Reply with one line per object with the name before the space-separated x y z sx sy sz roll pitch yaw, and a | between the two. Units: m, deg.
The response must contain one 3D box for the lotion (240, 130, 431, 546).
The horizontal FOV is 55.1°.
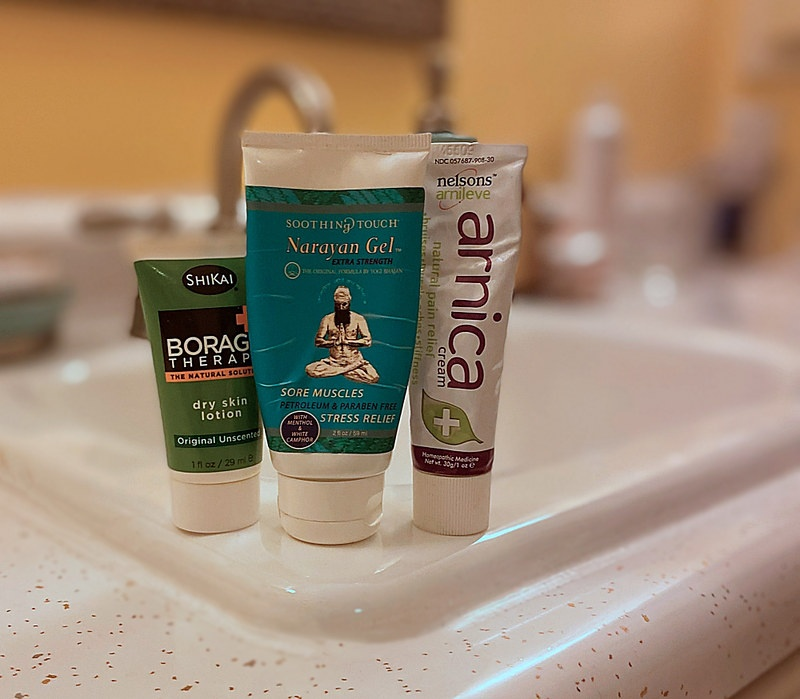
lotion | -0.030 -0.004 0.401 0.093 0.211 0.064 -1 19 2
